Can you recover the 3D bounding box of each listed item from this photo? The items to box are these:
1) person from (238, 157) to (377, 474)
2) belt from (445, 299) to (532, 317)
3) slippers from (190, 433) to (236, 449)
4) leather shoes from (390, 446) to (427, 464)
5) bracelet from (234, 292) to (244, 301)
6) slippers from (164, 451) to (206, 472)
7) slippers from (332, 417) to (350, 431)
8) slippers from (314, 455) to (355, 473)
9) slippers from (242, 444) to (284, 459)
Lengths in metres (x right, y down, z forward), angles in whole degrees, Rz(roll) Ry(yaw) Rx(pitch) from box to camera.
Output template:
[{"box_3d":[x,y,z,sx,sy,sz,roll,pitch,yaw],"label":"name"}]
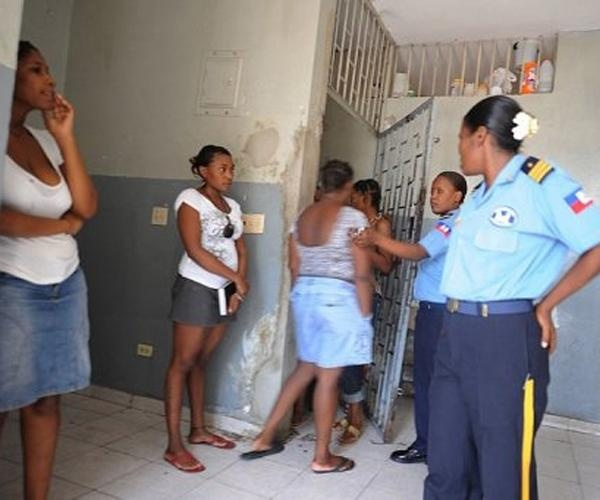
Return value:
[{"box_3d":[0.127,0.371,2.733,0.608,1.166,0.357,9,4,39],"label":"person"},{"box_3d":[0.706,0.216,1.878,0.311,0.067,0.098,7,4,23],"label":"belt"},{"box_3d":[-0.529,1.124,2.979,0.235,0.053,0.105,1,1,-2],"label":"slippers"},{"box_3d":[0.642,1.229,2.982,0.200,0.079,0.084,4,-5,-2],"label":"leather shoes"},{"box_3d":[-0.344,0.267,2.825,0.050,0.052,0.041,-12,-9,8],"label":"bracelet"},{"box_3d":[-0.615,1.136,2.668,0.216,0.084,0.088,-3,-3,39],"label":"slippers"},{"box_3d":[0.278,1.189,3.412,0.100,0.031,0.055,0,0,12],"label":"slippers"},{"box_3d":[0.188,1.193,2.781,0.186,0.044,0.098,-1,1,-7],"label":"slippers"},{"box_3d":[-0.204,1.174,2.940,0.261,0.096,0.076,4,1,-22],"label":"slippers"}]
